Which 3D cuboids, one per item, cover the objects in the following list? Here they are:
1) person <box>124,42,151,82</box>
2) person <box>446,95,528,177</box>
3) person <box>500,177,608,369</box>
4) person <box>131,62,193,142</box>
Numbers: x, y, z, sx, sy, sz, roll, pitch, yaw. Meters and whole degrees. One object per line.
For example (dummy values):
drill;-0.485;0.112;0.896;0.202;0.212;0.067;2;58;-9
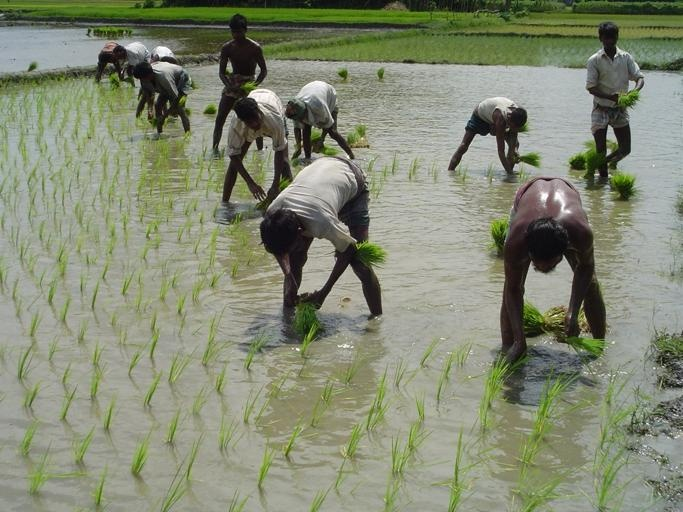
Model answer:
person;-3.985;-3.733;15.198;0.272;0.613;0.888;3;4;30
person;2.042;-1.637;10.293;0.631;1.096;1.380;-14;19;-16
person;1.505;0.136;5.774;0.655;1.311;0.948;10;18;37
person;-2.750;-2.415;12.033;0.802;1.072;0.993;-3;14;-11
